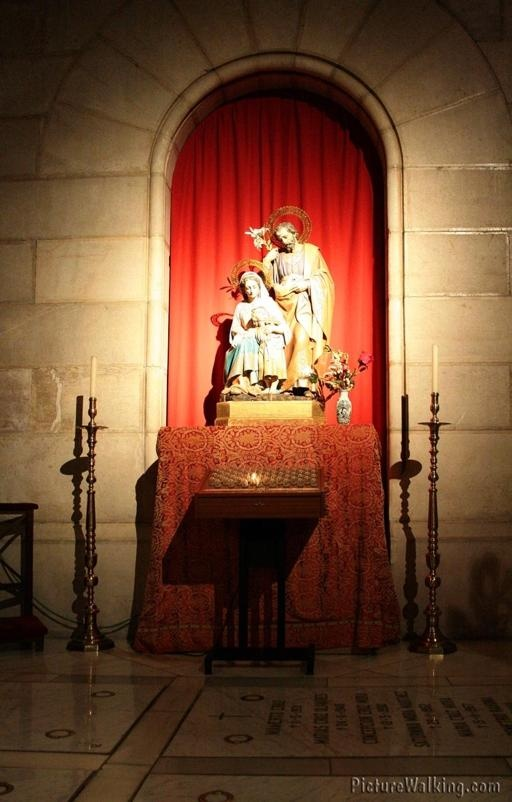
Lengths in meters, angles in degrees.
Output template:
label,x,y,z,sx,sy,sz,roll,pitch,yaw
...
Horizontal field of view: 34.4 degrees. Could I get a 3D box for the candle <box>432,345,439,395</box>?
label,x,y,z,sx,sy,sz,roll,pitch,yaw
candle,0.903,-0.168,4.231,0.031,0.254,0.096,-2,-3,9

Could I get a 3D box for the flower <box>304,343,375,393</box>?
label,x,y,z,sx,sy,sz,roll,pitch,yaw
flower,0.457,-0.189,4.843,0.329,0.264,0.318,-8,21,-24

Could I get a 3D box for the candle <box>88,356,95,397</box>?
label,x,y,z,sx,sy,sz,roll,pitch,yaw
candle,-0.866,-0.131,4.362,0.018,0.218,0.037,-2,-3,4

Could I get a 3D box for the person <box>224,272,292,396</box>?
label,x,y,z,sx,sy,sz,roll,pitch,yaw
person,-0.011,-0.387,4.624,0.357,0.703,0.257,-1,-3,1
